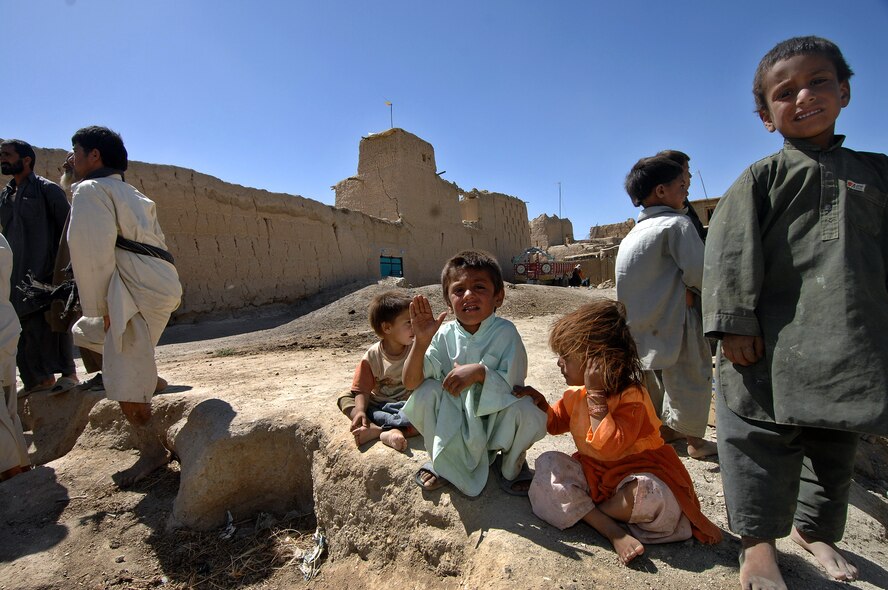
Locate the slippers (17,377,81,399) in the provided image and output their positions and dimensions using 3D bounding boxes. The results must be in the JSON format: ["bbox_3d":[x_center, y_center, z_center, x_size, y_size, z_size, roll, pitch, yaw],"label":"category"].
[{"bbox_3d":[-3.579,0.843,5.276,0.398,0.170,0.137,-10,7,-6],"label":"slippers"}]

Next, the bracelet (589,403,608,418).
[{"bbox_3d":[0.853,0.637,3.193,0.087,0.066,0.056,0,-18,26],"label":"bracelet"}]

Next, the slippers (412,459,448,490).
[{"bbox_3d":[-0.069,1.066,3.466,0.107,0.063,0.207,26,15,26],"label":"slippers"}]
